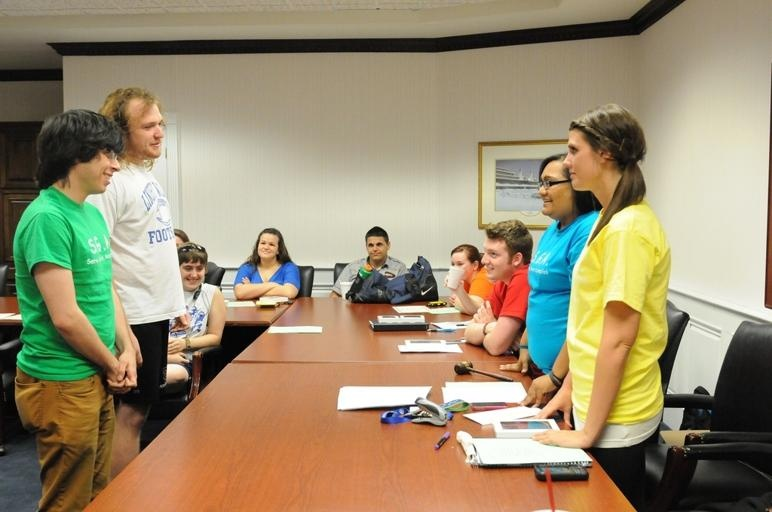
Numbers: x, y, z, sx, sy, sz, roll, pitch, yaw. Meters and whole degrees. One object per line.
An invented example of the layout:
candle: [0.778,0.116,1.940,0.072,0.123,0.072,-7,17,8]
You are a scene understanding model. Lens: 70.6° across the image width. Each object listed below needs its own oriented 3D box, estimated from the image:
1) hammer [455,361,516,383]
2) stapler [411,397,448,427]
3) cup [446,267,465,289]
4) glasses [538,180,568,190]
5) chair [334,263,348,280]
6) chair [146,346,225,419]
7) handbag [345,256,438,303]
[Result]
hammer: [0.490,0.552,2.738,0.276,0.076,0.103,6,-13,34]
stapler: [0.181,0.639,2.257,0.125,0.060,0.086,-3,4,12]
cup: [0.449,0.138,3.619,0.134,0.151,0.142,5,0,0]
glasses: [0.796,-0.347,2.607,0.094,0.030,0.094,0,1,-6]
chair: [-0.502,0.159,5.786,0.158,0.235,0.181,2,-5,-5]
chair: [-1.251,0.812,3.457,0.434,0.502,0.389,1,-1,9]
handbag: [0.062,0.173,4.794,0.566,0.274,0.448,-1,1,0]
